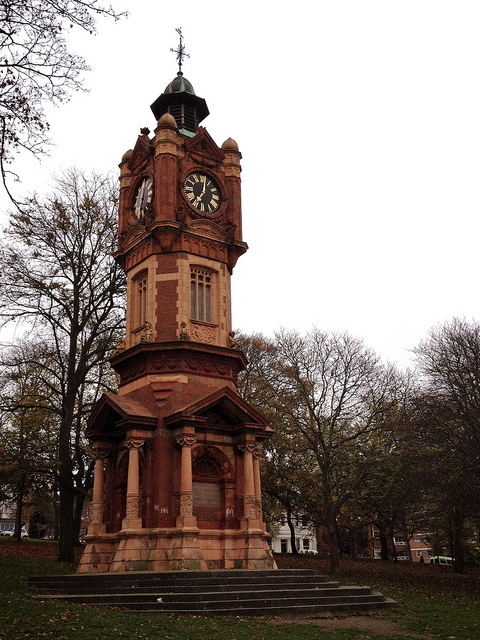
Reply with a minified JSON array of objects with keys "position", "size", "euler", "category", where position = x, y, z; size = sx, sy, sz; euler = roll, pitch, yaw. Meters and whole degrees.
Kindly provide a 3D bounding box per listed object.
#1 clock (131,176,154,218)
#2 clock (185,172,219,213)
[{"position":[-4.442,-5.535,28.934],"size":[0.151,2.221,2.255],"euler":[11,-3,-32],"category":"clock"},{"position":[-1.672,-5.651,28.456],"size":[2.021,1.939,0.187],"euler":[-4,-7,-43],"category":"clock"}]
